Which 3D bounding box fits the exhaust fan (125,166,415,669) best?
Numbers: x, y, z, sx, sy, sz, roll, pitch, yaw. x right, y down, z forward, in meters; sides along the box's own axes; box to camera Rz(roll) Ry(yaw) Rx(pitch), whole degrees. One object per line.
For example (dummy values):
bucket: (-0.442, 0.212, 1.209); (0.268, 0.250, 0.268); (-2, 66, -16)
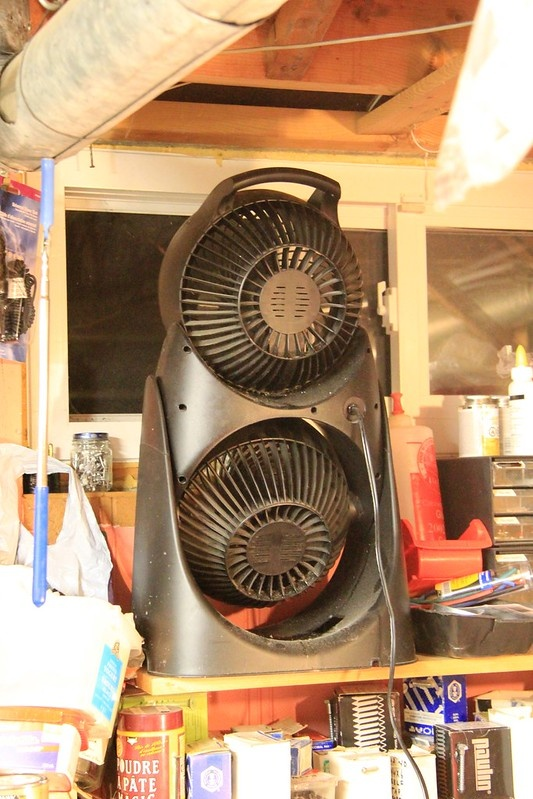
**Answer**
exhaust fan: (-0.005, 0.059, 0.953); (0.386, 0.680, 0.257); (-4, 9, -27)
